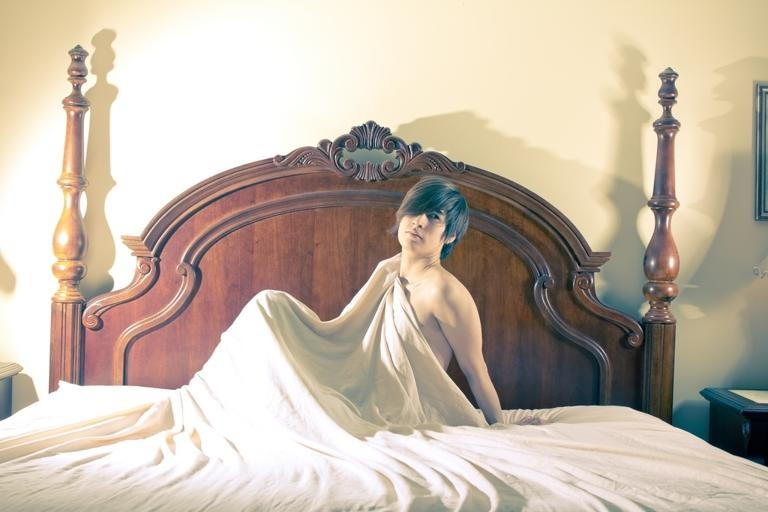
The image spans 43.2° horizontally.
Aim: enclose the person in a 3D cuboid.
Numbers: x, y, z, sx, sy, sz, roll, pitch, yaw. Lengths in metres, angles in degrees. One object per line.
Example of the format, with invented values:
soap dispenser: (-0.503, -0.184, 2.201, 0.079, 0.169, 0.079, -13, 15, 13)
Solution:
person: (0.269, 0.256, 4.409, 0.284, 0.941, 1.062, -1, -5, -29)
